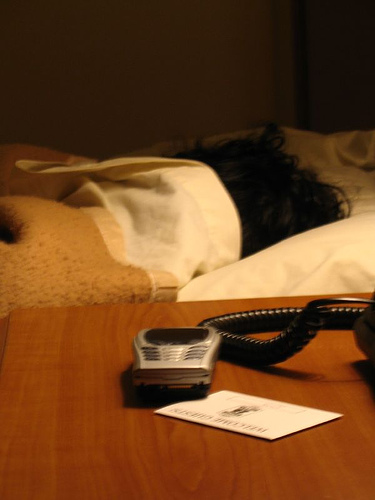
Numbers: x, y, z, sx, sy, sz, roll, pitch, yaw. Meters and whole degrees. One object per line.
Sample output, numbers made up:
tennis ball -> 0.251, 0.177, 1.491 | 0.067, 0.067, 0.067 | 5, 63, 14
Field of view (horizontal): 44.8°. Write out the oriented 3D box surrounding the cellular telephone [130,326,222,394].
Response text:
cellular telephone -> -0.007, 0.076, 0.364 | 0.064, 0.029, 0.105 | -3, 11, 3

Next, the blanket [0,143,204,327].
blanket -> -0.230, -0.012, 0.910 | 0.424, 0.117, 0.383 | -1, 44, -11
